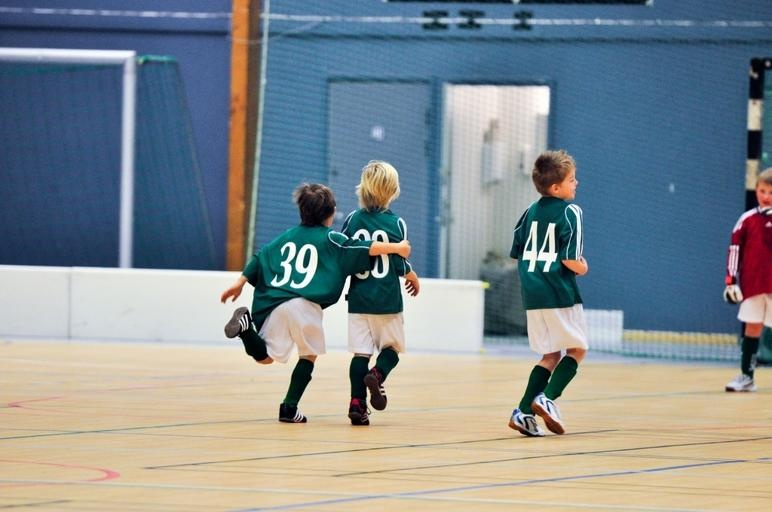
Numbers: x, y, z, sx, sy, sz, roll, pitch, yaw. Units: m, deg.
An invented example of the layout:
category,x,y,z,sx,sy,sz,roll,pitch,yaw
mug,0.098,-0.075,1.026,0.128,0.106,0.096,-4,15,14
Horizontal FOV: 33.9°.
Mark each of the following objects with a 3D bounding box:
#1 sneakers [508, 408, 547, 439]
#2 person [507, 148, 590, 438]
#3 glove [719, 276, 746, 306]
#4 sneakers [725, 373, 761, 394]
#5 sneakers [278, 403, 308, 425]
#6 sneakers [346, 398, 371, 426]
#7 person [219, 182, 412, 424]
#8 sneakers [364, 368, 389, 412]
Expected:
category,x,y,z,sx,sy,sz,roll,pitch,yaw
sneakers,0.990,1.197,9.049,0.359,0.131,0.119,26,-13,-14
person,1.168,0.267,9.076,0.561,1.983,0.754,2,14,5
glove,2.927,0.280,10.507,0.212,0.198,0.304,1,33,3
sneakers,2.927,1.049,10.393,0.283,0.104,0.115,3,-7,-18
sneakers,-0.669,1.153,9.272,0.101,0.091,0.252,1,-2,32
sneakers,-0.202,1.136,9.186,0.110,0.102,0.255,1,-1,10
person,-0.613,0.346,9.285,1.178,1.690,0.511,-2,15,-13
sneakers,-0.073,0.976,9.185,0.152,0.307,0.143,-7,25,32
